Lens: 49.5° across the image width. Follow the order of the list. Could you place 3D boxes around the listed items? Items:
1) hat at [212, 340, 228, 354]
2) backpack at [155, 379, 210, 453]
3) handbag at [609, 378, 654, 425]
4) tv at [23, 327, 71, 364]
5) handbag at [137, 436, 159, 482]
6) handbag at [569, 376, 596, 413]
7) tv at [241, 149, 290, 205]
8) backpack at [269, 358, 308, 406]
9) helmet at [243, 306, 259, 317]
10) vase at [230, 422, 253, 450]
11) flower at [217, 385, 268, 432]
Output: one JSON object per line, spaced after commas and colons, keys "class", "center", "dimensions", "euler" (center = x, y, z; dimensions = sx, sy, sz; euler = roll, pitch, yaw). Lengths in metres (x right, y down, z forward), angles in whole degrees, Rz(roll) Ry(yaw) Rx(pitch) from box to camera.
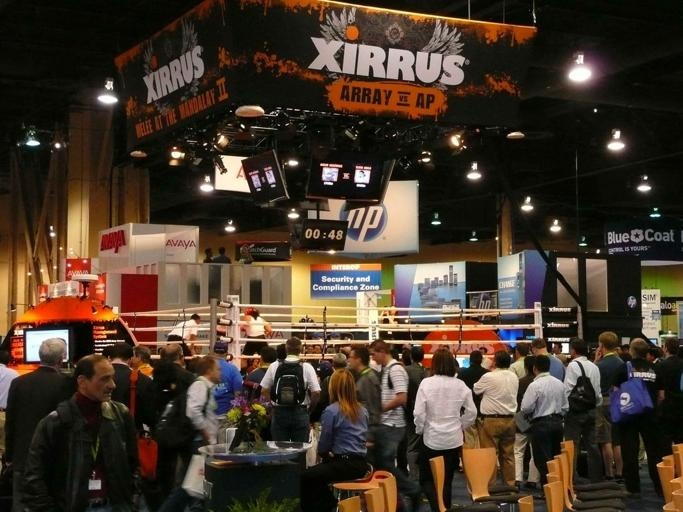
{"class": "hat", "center": [-1.597, 1.166, 9.373], "dimensions": [0.183, 0.135, 0.290], "euler": [5, -3, -2]}
{"class": "backpack", "center": [-1.493, 1.469, 6.776], "dimensions": [0.419, 0.645, 0.147], "euler": [-2, -4, 15]}
{"class": "handbag", "center": [3.673, 1.842, 9.296], "dimensions": [0.173, 0.480, 0.438], "euler": [31, -52, -35]}
{"class": "tv", "center": [-5.150, 1.579, 12.924], "dimensions": [0.604, 0.599, 0.967], "euler": [2, -5, -33]}
{"class": "handbag", "center": [-1.734, 1.808, 6.620], "dimensions": [0.163, 0.374, 0.321], "euler": [0, -4, -14]}
{"class": "handbag", "center": [3.088, 1.763, 9.461], "dimensions": [0.449, 0.541, 0.322], "euler": [-1, 4, 20]}
{"class": "tv", "center": [-1.362, -1.416, 13.409], "dimensions": [0.941, 0.849, 0.215], "euler": [-6, 14, 45]}
{"class": "backpack", "center": [-0.575, 1.427, 8.245], "dimensions": [0.330, 0.491, 0.320], "euler": [0, -4, -3]}
{"class": "helmet", "center": [-1.543, 0.966, 12.643], "dimensions": [0.175, 0.175, 0.232], "euler": [-5, -36, -20]}
{"class": "vase", "center": [-0.805, 1.447, 5.899], "dimensions": [0.060, 0.171, 0.252], "euler": [1, -8, 13]}
{"class": "flower", "center": [-0.765, 1.295, 6.009], "dimensions": [0.326, 0.289, 0.263], "euler": [-1, -4, 4]}
